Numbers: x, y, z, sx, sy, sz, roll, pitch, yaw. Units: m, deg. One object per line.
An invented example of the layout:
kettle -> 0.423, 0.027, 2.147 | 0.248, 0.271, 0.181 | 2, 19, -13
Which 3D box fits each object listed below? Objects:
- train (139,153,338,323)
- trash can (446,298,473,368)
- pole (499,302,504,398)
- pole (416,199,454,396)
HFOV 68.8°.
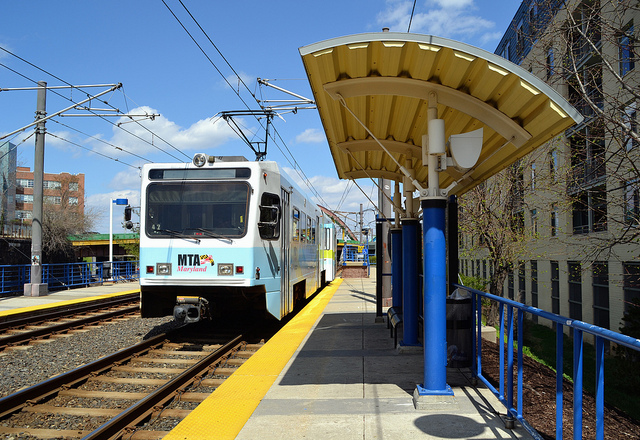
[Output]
train -> -1.388, 0.810, 16.190 | 3.316, 4.367, 12.598 | -1, -4, 9
trash can -> 2.281, 1.873, 7.939 | 0.453, 1.140, 0.490 | 1, 3, 3
pole -> 2.547, 1.851, 6.595 | 0.080, 1.238, 0.078 | 0, -4, 24
pole -> 1.626, 1.092, 6.765 | 0.529, 2.770, 0.314 | -4, -5, 14
